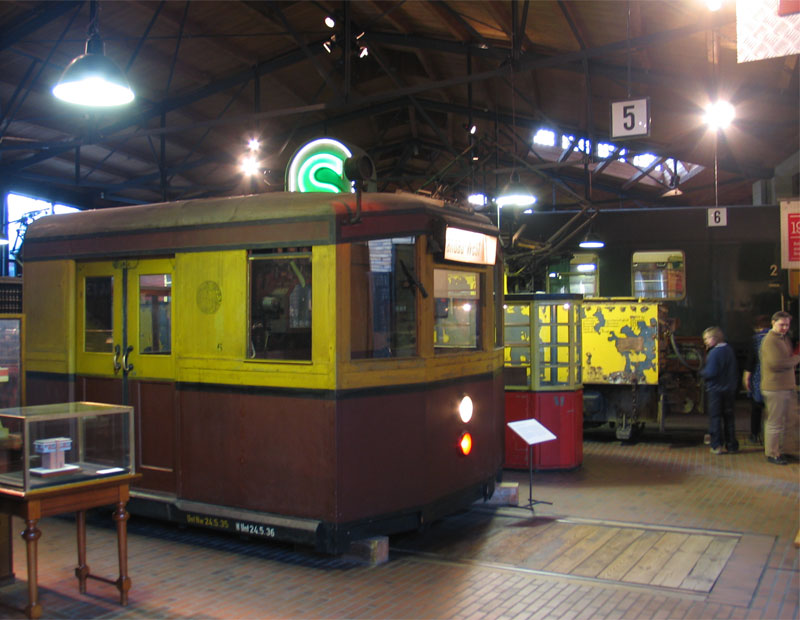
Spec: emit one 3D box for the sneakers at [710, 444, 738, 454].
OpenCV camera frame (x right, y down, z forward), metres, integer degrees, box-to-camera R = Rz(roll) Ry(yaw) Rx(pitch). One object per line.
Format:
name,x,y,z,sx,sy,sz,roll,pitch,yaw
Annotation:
sneakers,5.236,2.246,14.147,0.421,0.204,0.159,2,2,38

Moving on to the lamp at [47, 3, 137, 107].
lamp,-3.511,-2.820,9.911,0.753,0.999,0.972,-7,12,-35

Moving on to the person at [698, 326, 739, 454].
person,5.210,1.283,14.269,0.628,2.002,0.746,3,10,20

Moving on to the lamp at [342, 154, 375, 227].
lamp,-0.449,-1.367,9.830,0.327,0.713,0.667,-1,10,-2
